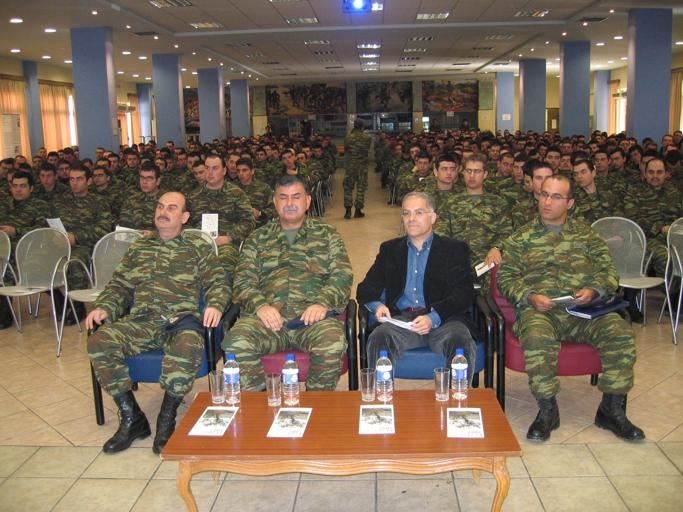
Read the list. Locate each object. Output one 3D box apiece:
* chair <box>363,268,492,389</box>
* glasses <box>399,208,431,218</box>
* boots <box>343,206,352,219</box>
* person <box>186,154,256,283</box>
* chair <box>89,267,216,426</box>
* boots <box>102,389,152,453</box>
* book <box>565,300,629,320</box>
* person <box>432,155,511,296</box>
[{"bbox_3d":[0.526,0.542,3.533,0.740,0.737,0.689,0,-4,8],"label":"chair"},{"bbox_3d":[0.478,-0.299,3.462,0.198,0.065,0.110,5,12,31],"label":"glasses"},{"bbox_3d":[0.131,-0.982,11.508,0.292,0.332,0.237,2,5,-2],"label":"boots"},{"bbox_3d":[-1.426,-0.416,5.541,0.833,1.233,0.835,12,28,23],"label":"person"},{"bbox_3d":[-1.134,0.764,3.635,0.868,0.841,0.777,-1,0,4],"label":"chair"},{"bbox_3d":[-1.348,1.011,3.181,0.126,0.353,0.293,5,12,29],"label":"boots"},{"bbox_3d":[1.629,0.320,3.240,0.375,0.076,0.161,-5,11,-23],"label":"book"},{"bbox_3d":[1.166,-0.283,4.638,0.952,1.113,0.786,-9,16,-12],"label":"person"}]
